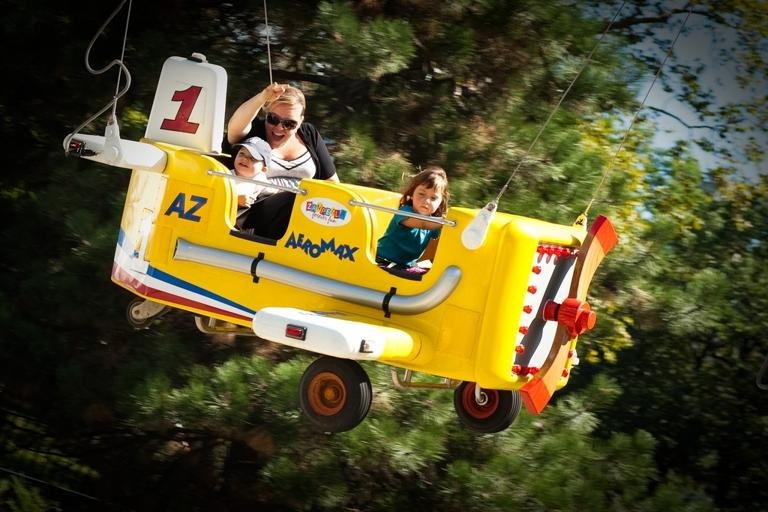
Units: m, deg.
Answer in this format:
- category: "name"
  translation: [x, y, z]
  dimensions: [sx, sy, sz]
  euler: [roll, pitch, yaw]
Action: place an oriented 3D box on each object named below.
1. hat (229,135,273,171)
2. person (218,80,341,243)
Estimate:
- category: "hat"
  translation: [-1.114, -0.894, 6.928]
  dimensions: [0.242, 0.318, 0.171]
  euler: [28, 84, 34]
- category: "person"
  translation: [-0.956, -0.709, 7.297]
  dimensions: [1.423, 1.032, 1.588]
  euler: [0, 106, -18]
